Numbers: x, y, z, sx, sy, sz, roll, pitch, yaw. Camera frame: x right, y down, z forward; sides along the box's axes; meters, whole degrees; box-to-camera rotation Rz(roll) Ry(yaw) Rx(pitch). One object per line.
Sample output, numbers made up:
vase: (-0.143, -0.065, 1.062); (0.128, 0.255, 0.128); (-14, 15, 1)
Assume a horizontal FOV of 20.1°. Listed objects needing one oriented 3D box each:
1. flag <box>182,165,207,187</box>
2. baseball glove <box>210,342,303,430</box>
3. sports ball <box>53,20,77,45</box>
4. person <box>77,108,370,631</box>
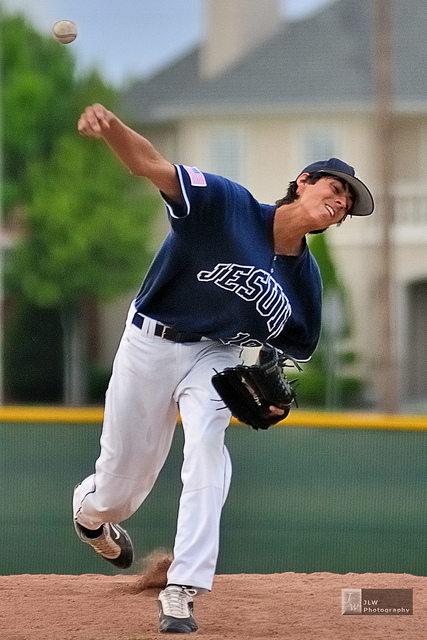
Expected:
flag: (-0.070, -0.541, 4.519); (0.090, 0.085, 0.154); (1, 2, -1)
baseball glove: (0.166, 0.275, 4.913); (0.323, 0.331, 0.161); (32, 5, -7)
sports ball: (-0.589, -1.144, 4.739); (0.090, 0.102, 0.146); (1, 2, -6)
person: (-0.003, 0.220, 4.829); (1.054, 1.875, 1.051); (1, 2, -7)
